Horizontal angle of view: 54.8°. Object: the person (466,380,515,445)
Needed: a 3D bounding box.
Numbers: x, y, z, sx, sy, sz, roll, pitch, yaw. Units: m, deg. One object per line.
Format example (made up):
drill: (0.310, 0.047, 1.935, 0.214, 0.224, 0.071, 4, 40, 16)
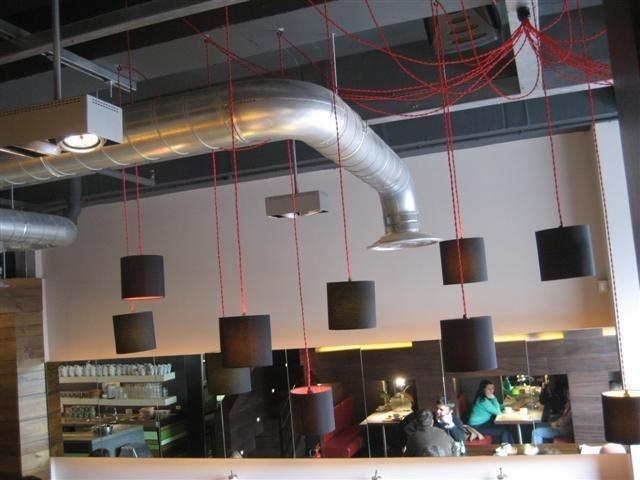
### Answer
person: (1.914, 1.966, 6.845, 0.585, 0.762, 0.325, -6, -6, 25)
